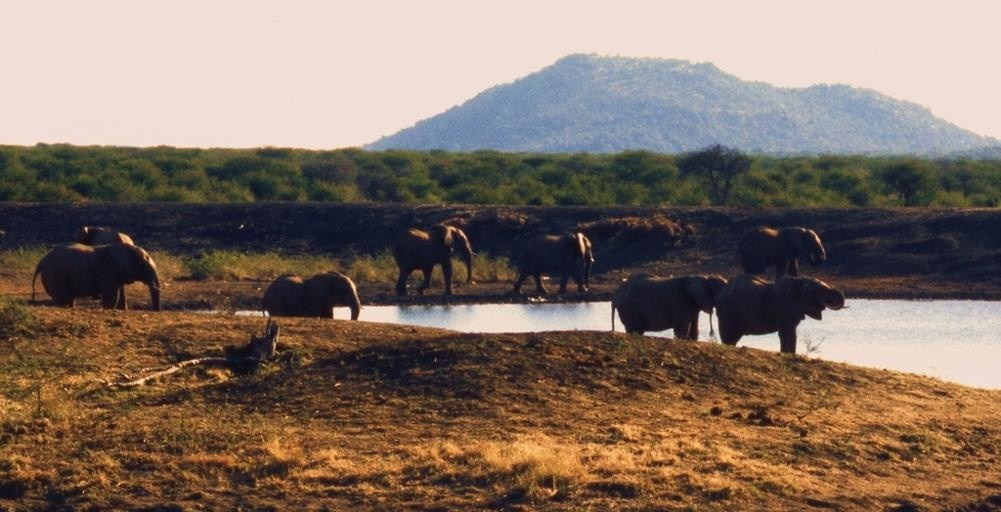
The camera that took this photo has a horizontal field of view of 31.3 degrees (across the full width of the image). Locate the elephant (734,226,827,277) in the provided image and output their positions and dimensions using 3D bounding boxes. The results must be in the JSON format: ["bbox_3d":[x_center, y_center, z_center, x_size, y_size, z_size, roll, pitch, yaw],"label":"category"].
[{"bbox_3d":[16.245,-0.267,104.719,6.145,3.507,2.846,0,0,3],"label":"elephant"}]

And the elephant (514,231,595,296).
[{"bbox_3d":[3.012,0.619,107.971,4.354,3.693,1.862,1,-3,3],"label":"elephant"}]

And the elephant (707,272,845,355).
[{"bbox_3d":[15.305,3.467,97.445,7.600,4.371,2.824,-4,2,7],"label":"elephant"}]

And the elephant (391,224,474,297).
[{"bbox_3d":[-4.316,0.489,107.313,5.673,4.058,2.618,-4,-1,-29],"label":"elephant"}]

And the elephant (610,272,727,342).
[{"bbox_3d":[8.835,2.819,98.707,7.230,3.914,3.323,-1,-1,-1],"label":"elephant"}]
